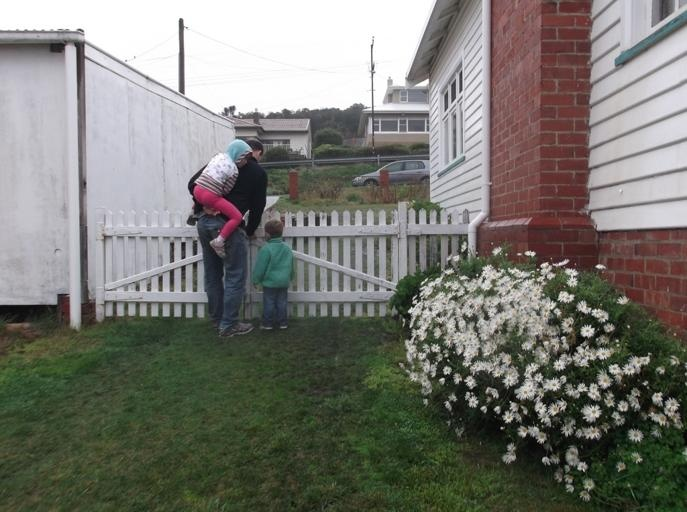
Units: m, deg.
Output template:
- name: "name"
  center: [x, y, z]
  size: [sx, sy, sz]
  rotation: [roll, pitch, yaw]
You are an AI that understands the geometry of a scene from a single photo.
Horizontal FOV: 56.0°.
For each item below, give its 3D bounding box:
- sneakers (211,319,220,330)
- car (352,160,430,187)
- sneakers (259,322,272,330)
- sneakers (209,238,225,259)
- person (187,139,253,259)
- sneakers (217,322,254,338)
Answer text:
- name: "sneakers"
  center: [-1.483, 0.793, 7.476]
  size: [0.098, 0.097, 0.092]
  rotation: [1, 1, 17]
- name: "car"
  center: [1.949, -3.546, 25.455]
  size: [2.753, 1.204, 1.420]
  rotation: [-1, 3, -5]
- name: "sneakers"
  center: [-0.893, 0.808, 7.463]
  size: [0.061, 0.081, 0.149]
  rotation: [-5, 10, -36]
- name: "sneakers"
  center: [-1.403, -0.093, 7.148]
  size: [0.057, 0.124, 0.184]
  rotation: [27, -25, 46]
- name: "person"
  center: [-1.353, -0.659, 7.222]
  size: [0.662, 1.333, 0.356]
  rotation: [0, -1, -17]
- name: "sneakers"
  center: [-1.221, 0.836, 7.322]
  size: [0.391, 0.201, 0.159]
  rotation: [-14, 21, -29]
